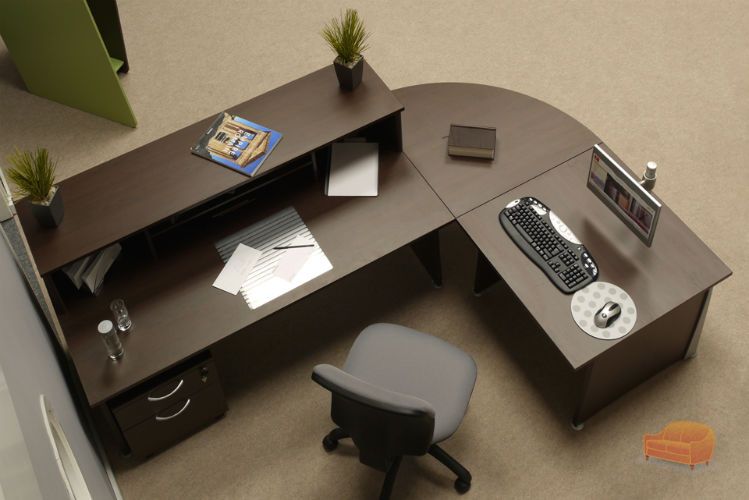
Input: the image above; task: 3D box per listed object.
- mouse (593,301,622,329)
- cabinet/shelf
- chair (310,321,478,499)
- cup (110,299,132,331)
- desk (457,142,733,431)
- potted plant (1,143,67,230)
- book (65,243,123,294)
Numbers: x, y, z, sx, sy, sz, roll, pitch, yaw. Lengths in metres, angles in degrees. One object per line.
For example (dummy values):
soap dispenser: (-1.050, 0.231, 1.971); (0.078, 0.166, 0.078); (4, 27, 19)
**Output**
mouse: (1.263, 0.358, 3.225); (0.101, 0.052, 0.159); (39, 84, 17)
cabinet/shelf: (-1.220, 0.921, 3.460); (0.512, 0.502, 0.364); (-26, 59, -18)
chair: (0.122, 0.955, 3.359); (0.603, 0.791, 0.643); (20, 73, 7)
cup: (-1.429, 0.358, 3.372); (0.089, 0.183, 0.153); (-21, 23, -25)
desk: (1.456, 0.355, 4.206); (1.557, 1.806, 1.333); (-29, -19, -14)
potted plant: (-1.854, -0.344, 3.303); (0.209, 0.445, 0.272); (-22, 24, -27)
book: (-1.606, 0.099, 3.422); (0.289, 0.120, 0.298); (-31, 14, 44)
